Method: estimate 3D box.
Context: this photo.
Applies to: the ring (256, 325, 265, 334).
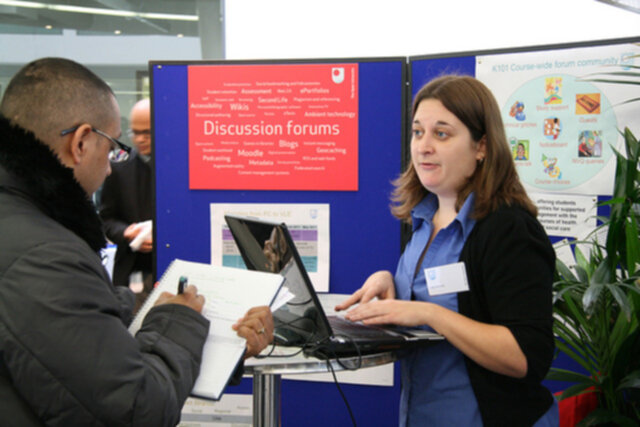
[{"bbox_3d":[-0.232,0.445,1.936,0.024,0.020,0.025,-10,-6,-1],"label":"ring"}]
